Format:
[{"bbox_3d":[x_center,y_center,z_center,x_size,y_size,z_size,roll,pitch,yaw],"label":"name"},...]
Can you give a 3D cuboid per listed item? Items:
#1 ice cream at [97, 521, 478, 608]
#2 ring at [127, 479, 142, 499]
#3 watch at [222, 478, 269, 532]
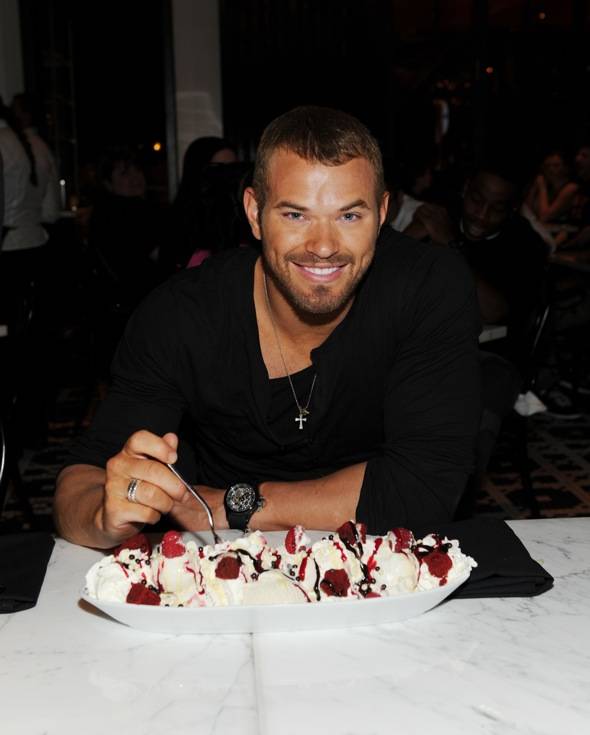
[{"bbox_3d":[-0.023,0.225,0.713,0.431,0.060,0.133,-3,1,8],"label":"ice cream"},{"bbox_3d":[-0.222,0.167,0.880,0.026,0.023,0.022,3,-18,15],"label":"ring"},{"bbox_3d":[-0.093,0.235,1.091,0.059,0.071,0.026,1,-16,18],"label":"watch"}]
